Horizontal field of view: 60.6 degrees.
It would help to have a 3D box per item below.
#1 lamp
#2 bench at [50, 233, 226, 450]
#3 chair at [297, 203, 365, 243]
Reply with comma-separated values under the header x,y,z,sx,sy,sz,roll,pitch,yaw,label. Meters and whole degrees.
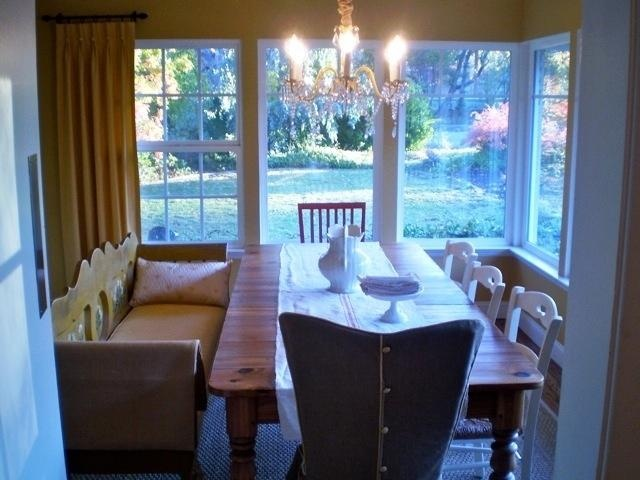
x,y,z,sx,sy,sz,roll,pitch,yaw,label
0.141,-1.195,3.664,0.798,1.096,0.858,16,28,36,lamp
-0.931,0.689,3.274,0.655,0.918,1.611,-1,17,-3,bench
0.117,-0.137,4.429,0.525,0.385,0.717,-1,13,4,chair
